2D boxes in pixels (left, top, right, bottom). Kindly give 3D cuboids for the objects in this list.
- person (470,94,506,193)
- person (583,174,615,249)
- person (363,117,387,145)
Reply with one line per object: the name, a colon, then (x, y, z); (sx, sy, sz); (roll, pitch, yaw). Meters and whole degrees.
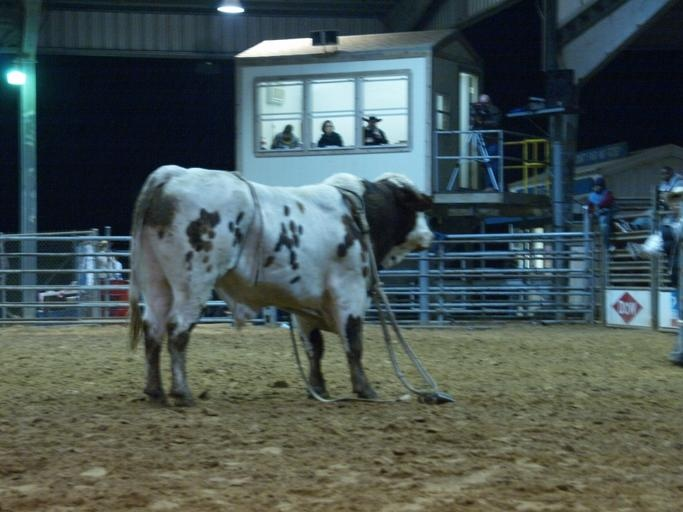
person: (3.166, -2.518, 25.129); (0.681, 2.141, 1.252); (-1, 1, 7)
person: (5.494, -0.929, 24.296); (0.590, 1.573, 1.141); (-1, 1, 12)
person: (0.681, -2.561, 23.391); (0.499, 0.604, 0.097); (-1, 1, -3)
